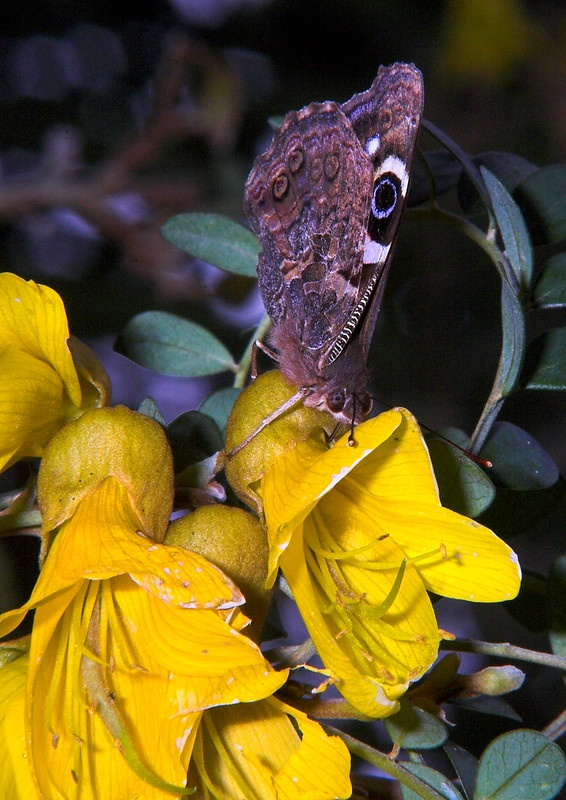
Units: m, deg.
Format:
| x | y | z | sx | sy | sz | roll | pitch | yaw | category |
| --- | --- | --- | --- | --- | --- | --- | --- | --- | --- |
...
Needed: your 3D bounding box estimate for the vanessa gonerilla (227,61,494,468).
| x | y | z | sx | sy | sz | roll | pitch | yaw | category |
| --- | --- | --- | --- | --- | --- | --- | --- | --- | --- |
| 0.053 | -0.186 | 1.169 | 0.293 | 0.463 | 0.385 | 1 | 14 | 6 | vanessa gonerilla |
